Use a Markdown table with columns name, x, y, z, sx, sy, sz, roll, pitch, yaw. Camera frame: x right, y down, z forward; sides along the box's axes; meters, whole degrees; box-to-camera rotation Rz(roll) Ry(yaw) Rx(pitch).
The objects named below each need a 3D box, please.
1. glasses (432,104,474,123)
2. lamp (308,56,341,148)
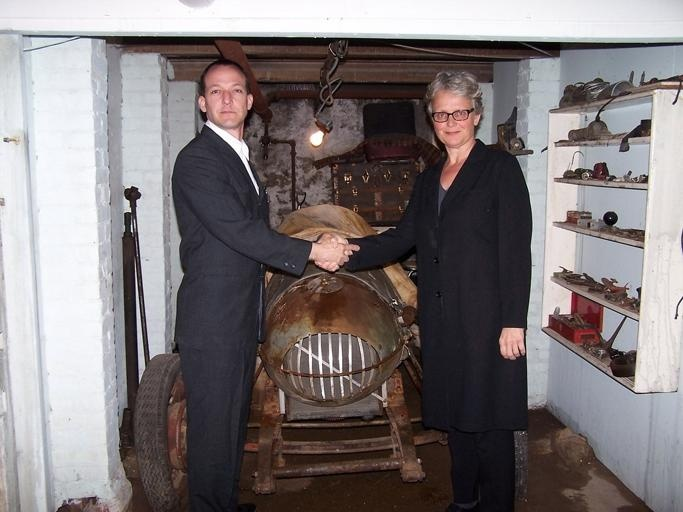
| name | x | y | z | sx | sy | sz | roll | pitch | yaw |
| --- | --- | --- | --- | --- | --- | --- | --- | --- | --- |
| glasses | 0.663 | -0.829 | 3.469 | 0.246 | 0.081 | 0.086 | -1 | 5 | 10 |
| lamp | -0.297 | -1.801 | 7.613 | 0.312 | 1.115 | 1.262 | 8 | 45 | -9 |
